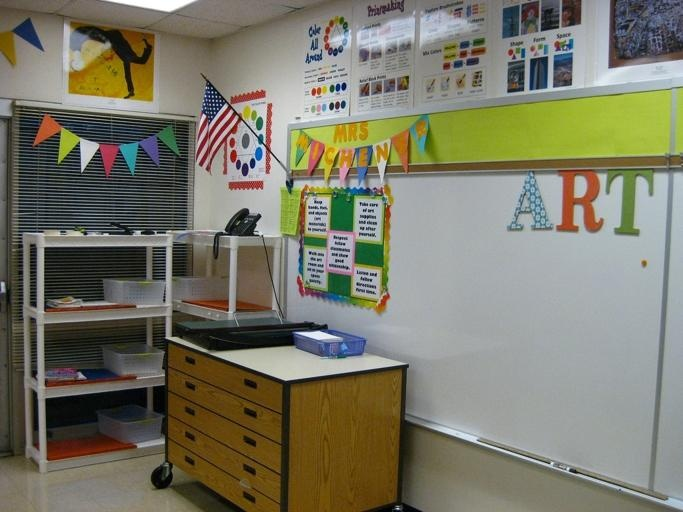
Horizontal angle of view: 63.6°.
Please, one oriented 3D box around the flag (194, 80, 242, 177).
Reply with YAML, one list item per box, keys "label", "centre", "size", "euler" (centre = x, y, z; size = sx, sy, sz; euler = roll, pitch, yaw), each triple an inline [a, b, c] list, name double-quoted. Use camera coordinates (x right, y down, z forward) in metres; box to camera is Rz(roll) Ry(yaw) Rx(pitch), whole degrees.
- label: "flag"
  centre: [-0.820, -0.877, 3.654]
  size: [0.298, 0.581, 0.336]
  euler: [-2, 5, -6]
